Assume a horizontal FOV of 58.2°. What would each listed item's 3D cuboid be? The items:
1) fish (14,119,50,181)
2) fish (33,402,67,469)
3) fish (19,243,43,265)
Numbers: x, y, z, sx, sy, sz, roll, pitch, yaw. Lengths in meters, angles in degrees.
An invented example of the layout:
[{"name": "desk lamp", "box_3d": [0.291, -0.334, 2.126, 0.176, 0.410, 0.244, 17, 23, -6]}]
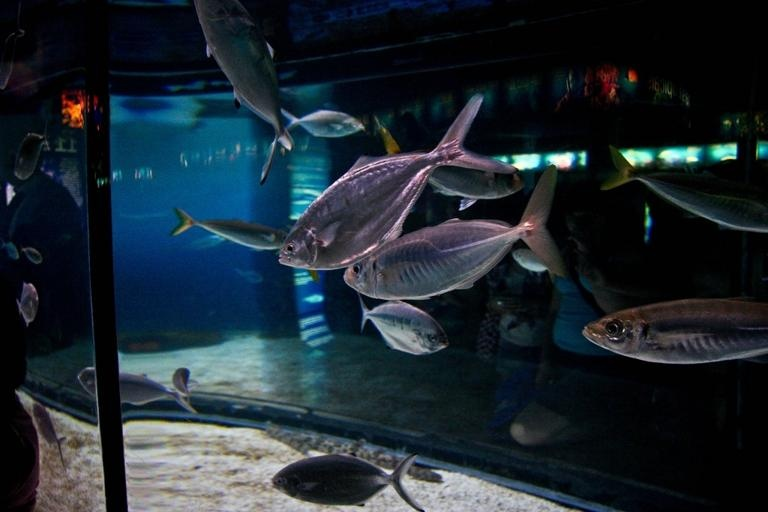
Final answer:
[{"name": "fish", "box_3d": [-2.531, -0.739, 4.976, 0.175, 0.529, 0.100, 25, 25, 15]}, {"name": "fish", "box_3d": [-2.461, 1.264, 5.065, 0.370, 0.356, 0.020, 5, 12, 34]}, {"name": "fish", "box_3d": [-2.518, -0.009, 4.946, 0.188, 0.091, 0.049, 32, -1, 24]}]
